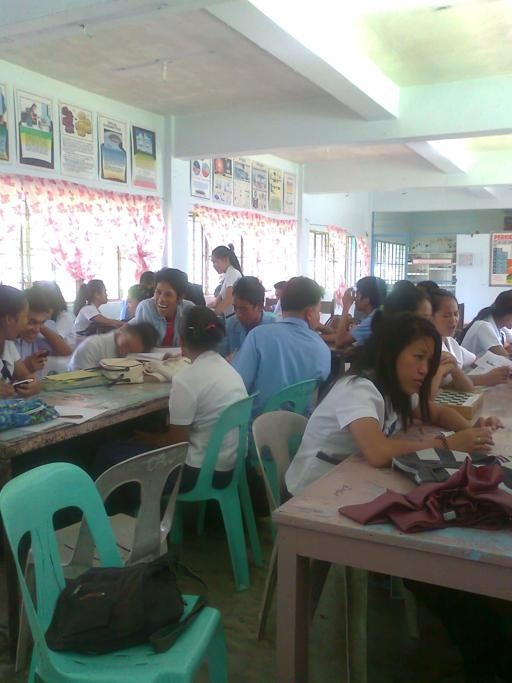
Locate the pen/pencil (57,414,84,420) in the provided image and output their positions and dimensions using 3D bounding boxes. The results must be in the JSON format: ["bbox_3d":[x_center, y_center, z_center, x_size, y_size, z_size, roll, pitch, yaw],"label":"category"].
[{"bbox_3d":[-0.636,0.255,1.839,0.080,0.001,0.026,5,23,21],"label":"pen/pencil"}]

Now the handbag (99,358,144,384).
[{"bbox_3d":[-0.617,0.126,2.459,0.153,0.064,0.119,0,10,-16],"label":"handbag"}]

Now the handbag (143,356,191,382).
[{"bbox_3d":[-0.428,0.124,2.591,0.205,0.070,0.111,-9,14,-25],"label":"handbag"}]

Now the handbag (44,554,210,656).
[{"bbox_3d":[-0.237,0.492,0.997,0.280,0.124,0.181,-7,10,-8],"label":"handbag"}]

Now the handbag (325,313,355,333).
[{"bbox_3d":[0.859,-0.249,5.673,0.244,0.267,0.210,2,10,-6],"label":"handbag"}]
